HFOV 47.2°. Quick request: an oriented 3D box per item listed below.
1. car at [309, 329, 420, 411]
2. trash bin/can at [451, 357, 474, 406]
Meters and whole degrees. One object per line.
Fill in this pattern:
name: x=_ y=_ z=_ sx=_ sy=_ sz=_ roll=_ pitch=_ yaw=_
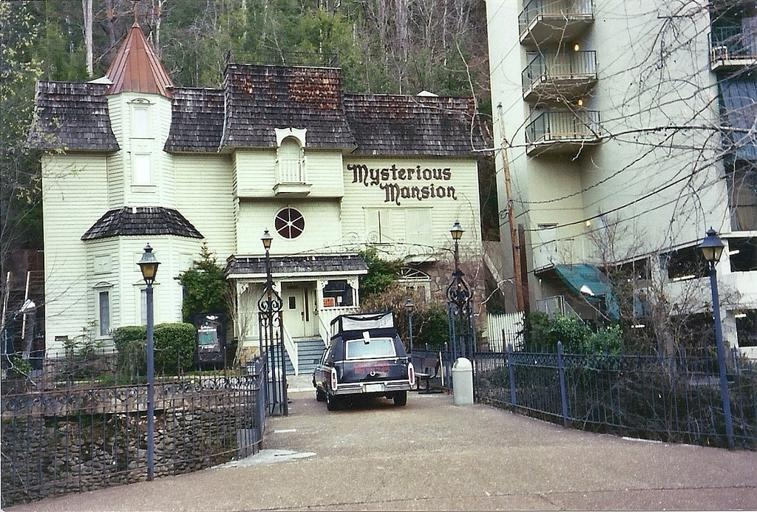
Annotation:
car: x=-0.527 y=4.125 z=31.787 sx=3.672 sy=2.853 sz=2.401 roll=-5 pitch=-8 yaw=11
trash bin/can: x=3.083 y=4.518 z=31.533 sx=0.736 sy=1.679 sz=0.700 roll=-3 pitch=-7 yaw=4
